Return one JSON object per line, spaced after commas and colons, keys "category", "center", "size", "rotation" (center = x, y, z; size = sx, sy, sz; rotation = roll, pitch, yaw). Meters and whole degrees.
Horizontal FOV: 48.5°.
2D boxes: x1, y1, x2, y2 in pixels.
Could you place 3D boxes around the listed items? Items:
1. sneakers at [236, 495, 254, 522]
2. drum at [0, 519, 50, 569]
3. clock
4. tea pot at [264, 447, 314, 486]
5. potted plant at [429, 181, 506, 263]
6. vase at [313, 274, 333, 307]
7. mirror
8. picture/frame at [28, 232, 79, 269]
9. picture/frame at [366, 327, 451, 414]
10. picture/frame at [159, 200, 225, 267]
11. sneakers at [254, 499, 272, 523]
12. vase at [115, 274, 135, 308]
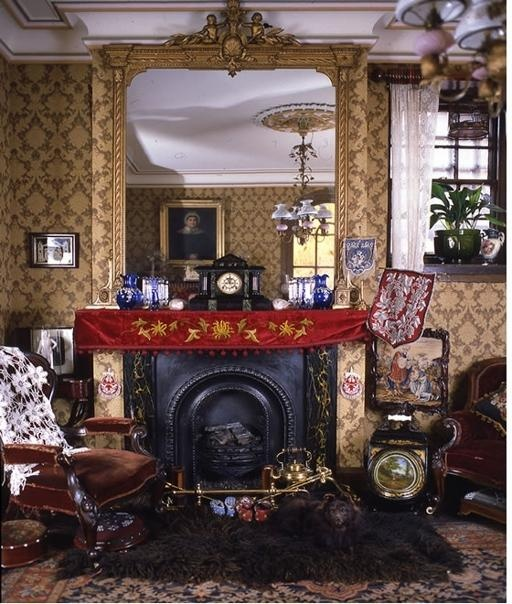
{"category": "sneakers", "center": [-0.067, 1.322, 3.628], "size": [0.089, 0.044, 0.126], "rotation": [-2, 20, -10]}
{"category": "drum", "center": [-1.307, 1.329, 3.196], "size": [0.228, 0.147, 0.340], "rotation": [-3, 12, -21]}
{"category": "clock", "center": [-0.227, -0.107, 4.025], "size": [0.704, 0.461, 0.365], "rotation": [0, -1, -2]}
{"category": "tea pot", "center": [0.218, 1.128, 3.876], "size": [0.400, 0.310, 0.252], "rotation": [0, -6, -2]}
{"category": "potted plant", "center": [1.684, -0.604, 4.617], "size": [0.694, 0.586, 0.669], "rotation": [0, -4, -2]}
{"category": "vase", "center": [0.477, -0.072, 4.045], "size": [0.156, 0.235, 0.133], "rotation": [-1, 12, -11]}
{"category": "mirror", "center": [-0.221, -0.850, 4.104], "size": [1.960, 1.819, 0.025], "rotation": [0, 1, 0]}
{"category": "picture/frame", "center": [-1.623, -0.410, 4.501], "size": [0.309, 0.212, 0.024], "rotation": [0, 3, -1]}
{"category": "picture/frame", "center": [1.115, 0.497, 4.148], "size": [0.702, 0.655, 0.045], "rotation": [1, -7, 2]}
{"category": "picture/frame", "center": [-0.485, -0.507, 4.104], "size": [0.526, 0.490, 0.038], "rotation": [-1, 0, -4]}
{"category": "sneakers", "center": [0.039, 1.330, 3.631], "size": [0.087, 0.110, 0.044], "rotation": [3, -38, 16]}
{"category": "vase", "center": [-0.929, -0.071, 4.019], "size": [0.115, 0.226, 0.177], "rotation": [0, 11, -9]}
